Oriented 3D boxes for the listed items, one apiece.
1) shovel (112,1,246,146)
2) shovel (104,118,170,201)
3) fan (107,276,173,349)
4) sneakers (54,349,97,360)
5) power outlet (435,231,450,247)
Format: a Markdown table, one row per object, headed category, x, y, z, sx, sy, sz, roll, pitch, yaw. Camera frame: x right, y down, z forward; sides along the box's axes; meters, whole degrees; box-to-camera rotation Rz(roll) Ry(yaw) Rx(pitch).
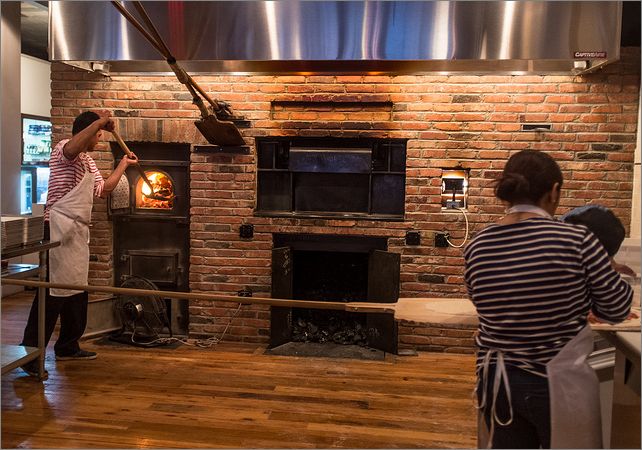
| category | x | y | z | sx | sy | sz | roll | pitch | yaw |
| --- | --- | --- | --- | --- | --- | --- | --- | --- | --- |
| shovel | -1.034 | -1.082 | 4.188 | 0.376 | 0.238 | 1.454 | 2 | -20 | 24 |
| shovel | -1.767 | -0.592 | 5.312 | 0.326 | 0.096 | 0.884 | 6 | -40 | 30 |
| fan | -1.807 | 0.833 | 5.363 | 0.730 | 0.650 | 0.446 | 2 | 10 | 34 |
| sneakers | -2.242 | 1.188 | 4.921 | 0.333 | 0.107 | 0.120 | 1 | -2 | -10 |
| power outlet | 1.168 | 0.143 | 5.211 | 0.138 | 0.141 | 0.047 | 3 | 15 | 7 |
